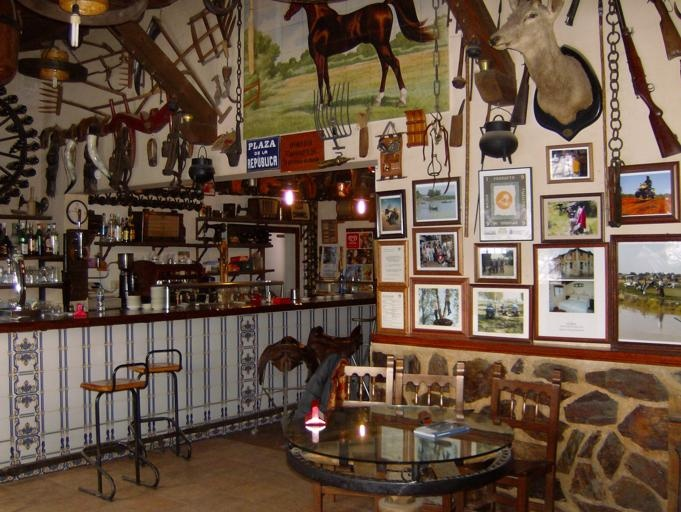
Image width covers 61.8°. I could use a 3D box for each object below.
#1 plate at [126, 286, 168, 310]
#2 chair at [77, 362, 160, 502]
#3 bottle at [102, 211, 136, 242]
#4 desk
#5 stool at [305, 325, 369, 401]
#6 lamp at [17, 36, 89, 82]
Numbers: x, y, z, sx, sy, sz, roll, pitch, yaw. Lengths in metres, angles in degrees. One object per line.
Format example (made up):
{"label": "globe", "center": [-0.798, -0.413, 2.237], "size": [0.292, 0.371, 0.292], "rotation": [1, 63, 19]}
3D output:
{"label": "plate", "center": [-2.373, 0.498, 7.045], "size": [0.516, 0.379, 0.283], "rotation": [1, -2, -2]}
{"label": "chair", "center": [-2.149, 1.563, 5.526], "size": [0.724, 1.343, 1.232], "rotation": [-2, 0, -25]}
{"label": "bottle", "center": [-3.796, -0.495, 9.701], "size": [0.450, 0.473, 0.149], "rotation": [3, -5, -44]}
{"label": "desk", "center": [0.380, 1.215, 3.630], "size": [1.435, 0.473, 0.940], "rotation": [-2, 1, -8]}
{"label": "stool", "center": [-0.067, 1.084, 6.019], "size": [0.540, 0.744, 0.427], "rotation": [5, -3, -10]}
{"label": "lamp", "center": [-3.020, -2.046, 5.986], "size": [0.594, 0.326, 0.645], "rotation": [3, 4, 7]}
